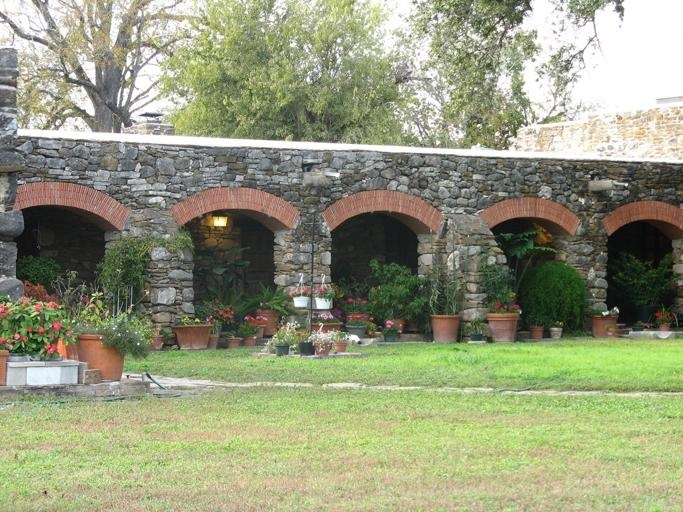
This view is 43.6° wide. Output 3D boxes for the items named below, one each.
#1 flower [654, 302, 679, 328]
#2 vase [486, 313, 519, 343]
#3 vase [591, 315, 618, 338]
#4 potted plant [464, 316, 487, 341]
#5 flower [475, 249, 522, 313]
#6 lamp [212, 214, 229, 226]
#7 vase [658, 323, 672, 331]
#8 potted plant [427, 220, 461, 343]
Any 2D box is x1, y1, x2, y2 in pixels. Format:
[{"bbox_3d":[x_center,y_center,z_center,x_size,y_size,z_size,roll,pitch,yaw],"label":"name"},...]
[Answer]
[{"bbox_3d":[7.612,1.360,19.753,0.617,0.745,0.567,1,-4,-4],"label":"flower"},{"bbox_3d":[3.405,1.487,17.785,0.656,0.484,0.636,0,-5,3],"label":"vase"},{"bbox_3d":[5.883,1.545,18.913,0.523,0.369,0.521,0,-2,1],"label":"vase"},{"bbox_3d":[2.836,1.525,17.871,0.487,0.464,0.278,0,2,7],"label":"potted plant"},{"bbox_3d":[3.340,0.551,17.944,0.800,1.228,0.361,0,2,3],"label":"flower"},{"bbox_3d":[-2.768,-0.798,19.408,0.331,0.273,0.364,0,2,5],"label":"lamp"},{"bbox_3d":[7.427,1.590,19.390,0.222,0.127,0.216,0,-2,9],"label":"vase"},{"bbox_3d":[2.177,0.482,18.247,0.611,2.612,0.792,-1,2,-28],"label":"potted plant"}]
